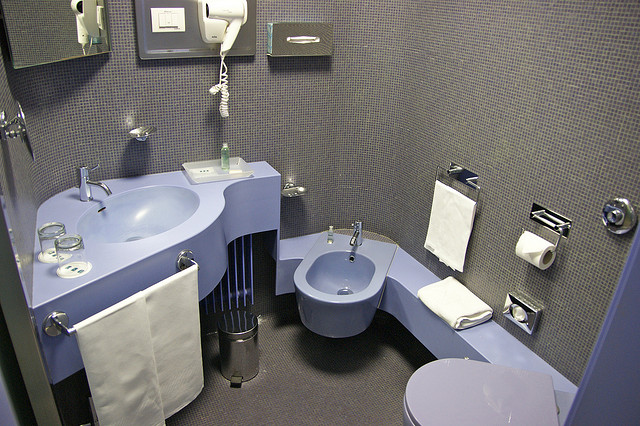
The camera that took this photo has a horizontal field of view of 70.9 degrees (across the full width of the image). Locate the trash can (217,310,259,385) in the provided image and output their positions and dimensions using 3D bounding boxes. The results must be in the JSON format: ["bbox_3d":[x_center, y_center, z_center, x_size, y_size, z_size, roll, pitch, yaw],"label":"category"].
[{"bbox_3d":[-0.514,0.902,3.100,0.339,0.539,0.383,-1,31,-5],"label":"trash can"}]

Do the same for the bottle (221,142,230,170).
[{"bbox_3d":[-0.632,-0.377,2.957,0.048,0.162,0.089,-8,31,-15],"label":"bottle"}]

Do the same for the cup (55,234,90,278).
[{"bbox_3d":[-1.205,0.216,2.196,0.139,0.189,0.116,5,29,-11],"label":"cup"}]

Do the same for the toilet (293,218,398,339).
[{"bbox_3d":[0.165,0.434,3.186,0.581,0.541,0.808,10,30,18],"label":"toilet"}]

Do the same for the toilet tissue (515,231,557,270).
[{"bbox_3d":[1.186,0.197,2.449,0.119,0.131,0.147,31,5,-35],"label":"toilet tissue"}]

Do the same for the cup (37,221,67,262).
[{"bbox_3d":[-1.310,0.146,2.192,0.101,0.164,0.107,8,41,-7],"label":"cup"}]

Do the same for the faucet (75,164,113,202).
[{"bbox_3d":[-1.285,-0.162,2.557,0.196,0.210,0.068,9,22,11],"label":"faucet"}]

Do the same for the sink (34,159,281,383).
[{"bbox_3d":[-0.973,0.153,2.640,0.777,0.633,1.454,26,39,36],"label":"sink"}]

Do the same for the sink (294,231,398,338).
[{"bbox_3d":[0.167,0.499,3.216,0.585,0.315,0.791,10,31,18],"label":"sink"}]
